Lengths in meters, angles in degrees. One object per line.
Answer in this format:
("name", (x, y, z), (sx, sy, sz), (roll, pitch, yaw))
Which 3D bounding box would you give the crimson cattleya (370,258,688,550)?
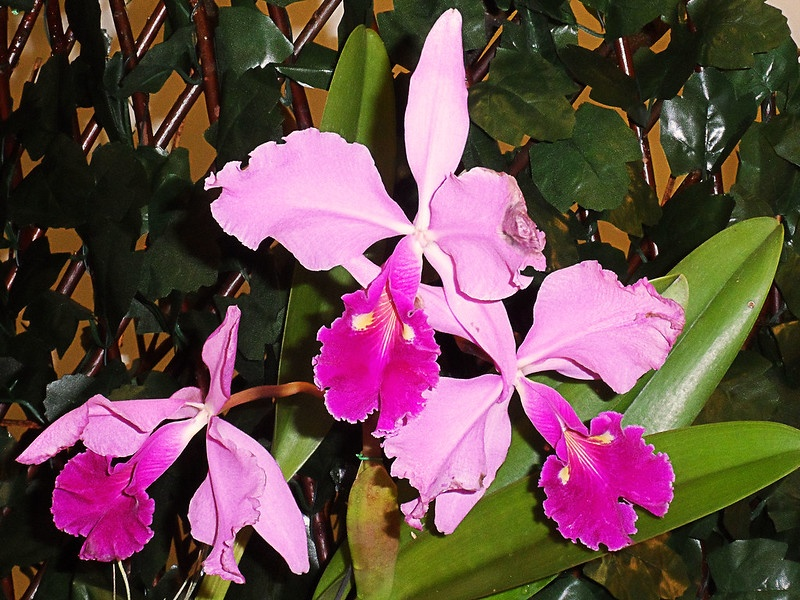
("crimson cattleya", (0.141, 0.084, 0.928), (0.312, 0.311, 0.094), (44, -1, -6))

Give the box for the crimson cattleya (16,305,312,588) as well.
("crimson cattleya", (-0.267, 0.152, 0.922), (0.319, 0.324, 0.107), (4, -47, 24))

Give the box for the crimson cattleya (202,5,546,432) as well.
("crimson cattleya", (0.025, -0.050, 0.861), (0.289, 0.377, 0.252), (24, 32, -31))
